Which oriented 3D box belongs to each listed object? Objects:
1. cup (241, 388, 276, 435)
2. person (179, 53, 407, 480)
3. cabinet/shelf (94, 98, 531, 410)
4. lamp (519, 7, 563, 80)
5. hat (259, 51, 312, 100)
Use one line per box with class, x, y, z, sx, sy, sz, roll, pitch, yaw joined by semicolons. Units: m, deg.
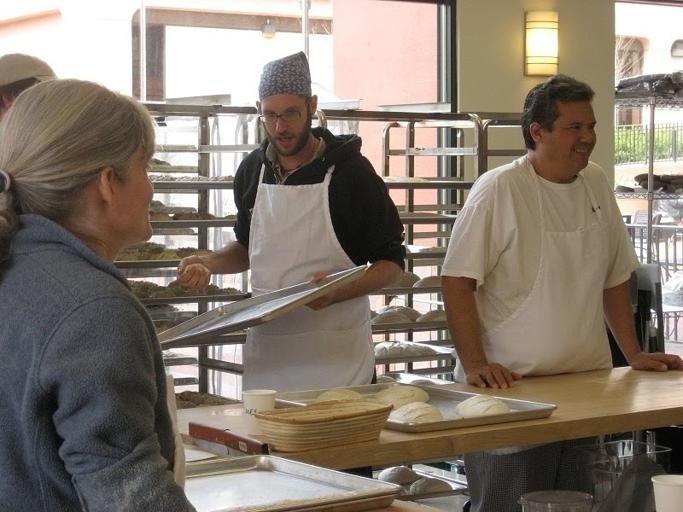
cup;-0.221;0.442;2.253;0.112;0.101;0.105;-1;-1;0
person;-0.144;0.173;2.948;0.705;1.667;0.632;6;18;25
cabinet/shelf;-0.776;-0.075;4.544;2.195;1.564;0.673;0;10;-10
lamp;1.500;-1.589;6.049;0.254;0.480;0.095;-4;3;-19
hat;-0.185;-0.635;2.849;0.212;0.157;0.146;-2;4;3
